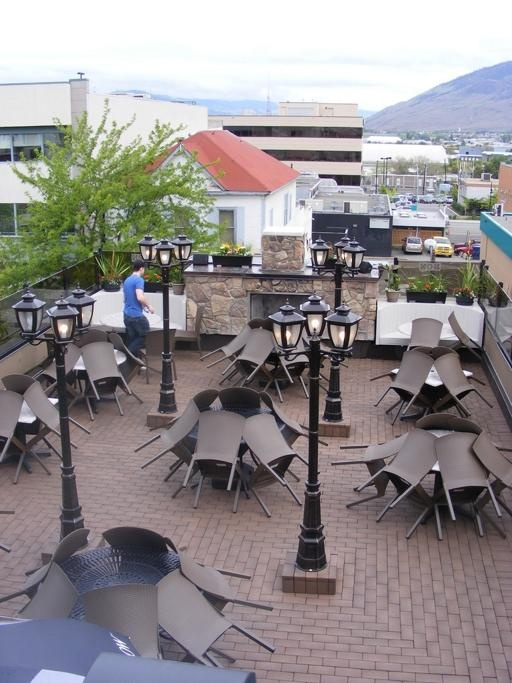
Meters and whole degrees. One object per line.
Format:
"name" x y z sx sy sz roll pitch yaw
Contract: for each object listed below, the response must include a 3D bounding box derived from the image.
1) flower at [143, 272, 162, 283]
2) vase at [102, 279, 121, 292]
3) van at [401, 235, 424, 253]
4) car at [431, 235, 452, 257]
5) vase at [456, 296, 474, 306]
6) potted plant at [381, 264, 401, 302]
"flower" -2.709 -1.661 14.005 0.352 0.240 0.348 -2 5 5
"vase" -3.707 -1.439 13.772 0.467 0.292 0.244 -3 11 -16
"van" 16.921 -10.429 58.567 1.839 1.784 1.376 4 11 20
"car" 19.176 -9.965 56.040 2.335 2.212 5.007 0 7 8
"vase" 4.805 -0.948 12.432 0.304 0.163 0.233 1 7 8
"potted plant" 3.199 -1.344 12.707 0.369 0.784 0.707 3 11 13
